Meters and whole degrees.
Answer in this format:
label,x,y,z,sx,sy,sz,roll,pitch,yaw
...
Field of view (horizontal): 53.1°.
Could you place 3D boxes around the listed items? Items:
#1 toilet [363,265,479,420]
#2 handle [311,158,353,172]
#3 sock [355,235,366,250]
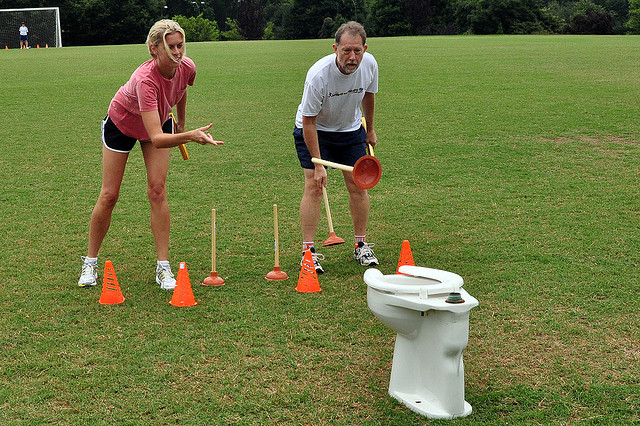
label,x,y,z,sx,sy,sz,roll,pitch,yaw
toilet,0.951,1.079,5.837,0.960,0.999,1.293,-5,12,-30
handle,0.130,-0.572,7.441,0.100,0.097,0.833,-7,14,-32
sock,0.493,0.367,7.886,0.142,0.210,0.147,0,2,8
